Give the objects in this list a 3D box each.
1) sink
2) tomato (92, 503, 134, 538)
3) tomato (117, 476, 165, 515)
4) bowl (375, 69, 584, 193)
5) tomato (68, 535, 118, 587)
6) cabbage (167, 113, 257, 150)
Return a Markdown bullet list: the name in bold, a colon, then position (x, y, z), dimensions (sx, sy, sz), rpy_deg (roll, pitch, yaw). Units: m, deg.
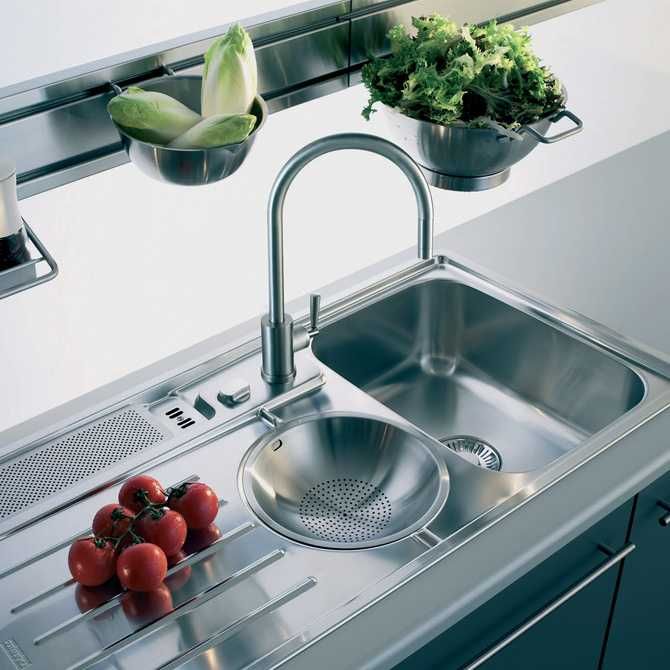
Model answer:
- **sink**: position (0.302, 0.071, 1.349), dimensions (0.412, 0.209, 0.547), rpy_deg (-35, 55, -30)
- **tomato**: position (-0.257, 0.215, 0.788), dimensions (0.046, 0.049, 0.038), rpy_deg (-2, 71, -30)
- **tomato**: position (-0.236, 0.193, 0.827), dimensions (0.053, 0.047, 0.042), rpy_deg (7, 73, -16)
- **bowl**: position (0.243, -0.321, 1.212), dimensions (0.267, 0.107, 0.343), rpy_deg (-9, 22, -22)
- **tomato**: position (-0.267, 0.253, 0.765), dimensions (0.049, 0.047, 0.044), rpy_deg (14, 30, -6)
- **cabbage**: position (-0.171, -0.285, 0.962), dimensions (0.129, 0.041, 0.068), rpy_deg (-18, 32, -14)
